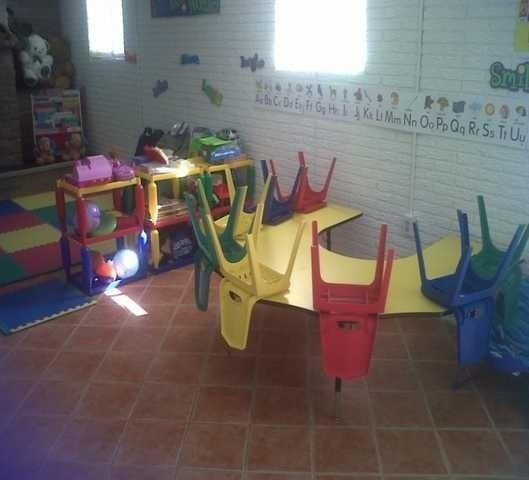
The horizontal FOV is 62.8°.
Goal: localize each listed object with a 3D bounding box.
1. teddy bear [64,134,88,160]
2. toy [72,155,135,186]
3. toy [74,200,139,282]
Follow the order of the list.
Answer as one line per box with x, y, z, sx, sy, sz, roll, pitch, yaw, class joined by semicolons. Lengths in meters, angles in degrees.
-3.098;-1.526;7.134;0.294;0.447;0.111;-4;17;-32;teddy bear
-1.305;-0.633;3.472;0.283;0.135;0.374;22;30;36;toy
-1.351;0.021;3.737;0.386;0.718;0.366;-20;37;-34;toy
